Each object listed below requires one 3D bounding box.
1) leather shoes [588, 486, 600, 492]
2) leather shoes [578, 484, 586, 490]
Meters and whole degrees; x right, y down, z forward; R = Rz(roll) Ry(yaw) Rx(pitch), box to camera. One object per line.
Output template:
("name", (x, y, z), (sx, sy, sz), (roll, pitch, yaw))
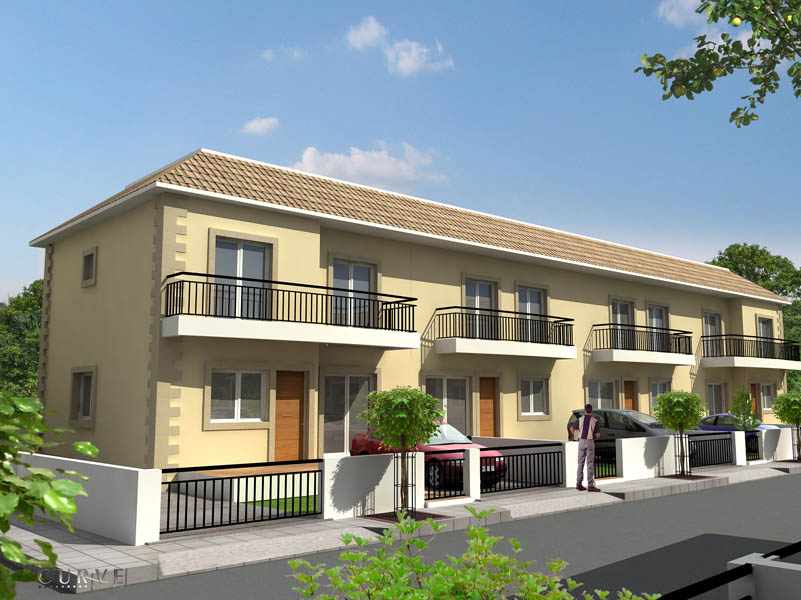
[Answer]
("leather shoes", (4.632, 4.545, 16.539), (0.355, 0.159, 0.132), (5, -6, -33))
("leather shoes", (4.379, 4.534, 16.641), (0.203, 0.140, 0.332), (-8, -15, 34))
